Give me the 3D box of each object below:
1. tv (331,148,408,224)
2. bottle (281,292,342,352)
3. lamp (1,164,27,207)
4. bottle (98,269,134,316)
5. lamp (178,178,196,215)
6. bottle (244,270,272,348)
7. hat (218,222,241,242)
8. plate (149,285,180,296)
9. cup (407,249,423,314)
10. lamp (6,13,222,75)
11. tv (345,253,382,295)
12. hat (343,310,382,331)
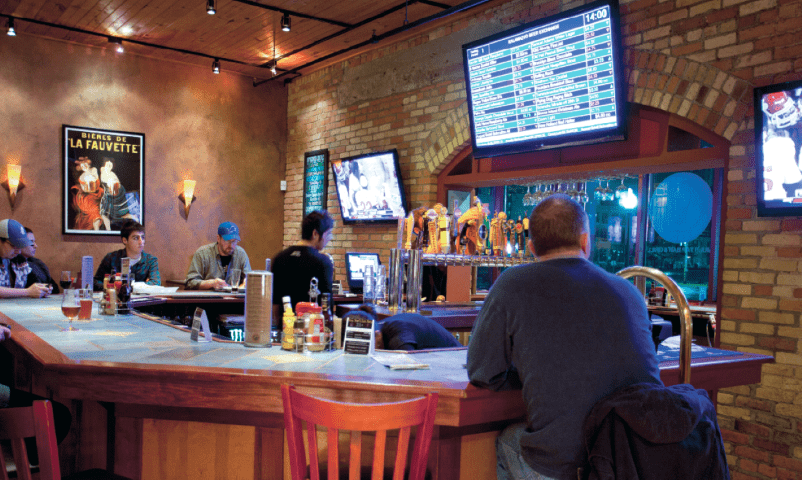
[{"bbox_3d":[-0.395,-0.740,8.142,1.289,0.895,0.175,-3,7,43],"label":"tv"},{"bbox_3d":[-0.585,0.559,4.143,0.404,0.355,0.397,-1,-3,38],"label":"bottle"},{"bbox_3d":[-5.216,-0.709,7.934,0.282,0.536,0.112,0,0,-33],"label":"lamp"},{"bbox_3d":[-2.492,0.470,5.174,0.216,0.281,0.299,0,0,-25],"label":"bottle"},{"bbox_3d":[-3.271,-0.643,9.059,0.246,0.390,0.145,0,0,-27],"label":"lamp"},{"bbox_3d":[-0.982,0.480,4.040,0.180,0.524,0.193,0,0,0],"label":"bottle"},{"bbox_3d":[-2.101,-0.099,7.185,0.211,0.164,0.299,-3,6,-39],"label":"hat"},{"bbox_3d":[-2.471,0.527,6.135,0.244,0.059,0.293,0,-1,-24],"label":"plate"},{"bbox_3d":[0.118,0.378,5.421,0.131,0.566,0.210,0,0,4],"label":"cup"},{"bbox_3d":[-3.903,-2.622,8.249,2.813,0.536,0.926,0,-1,-27],"label":"lamp"},{"bbox_3d":[-0.478,0.429,7.426,0.522,0.517,0.295,2,-13,-14],"label":"tv"},{"bbox_3d":[-0.297,0.541,4.097,0.189,0.096,0.173,0,5,-22],"label":"hat"}]
